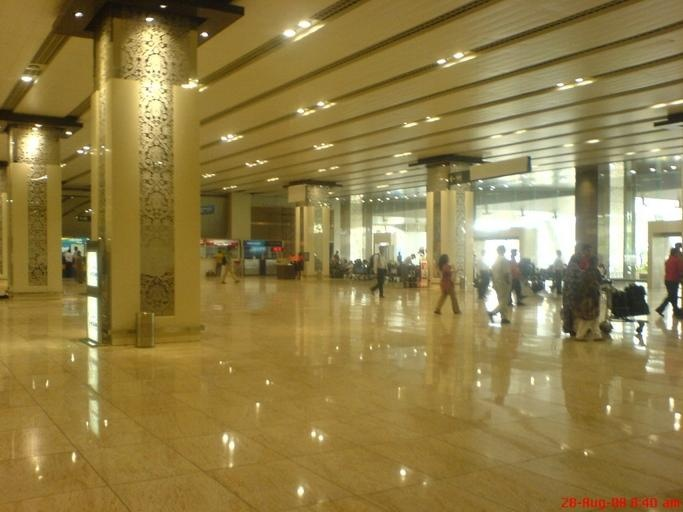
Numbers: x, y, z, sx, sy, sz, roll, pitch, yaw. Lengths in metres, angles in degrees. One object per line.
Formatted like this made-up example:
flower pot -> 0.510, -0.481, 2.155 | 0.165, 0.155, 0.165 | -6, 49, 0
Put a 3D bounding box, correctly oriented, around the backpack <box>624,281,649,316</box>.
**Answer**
backpack -> 5.803, 0.841, 10.619 | 0.388, 0.624, 0.156 | -8, 11, 34
